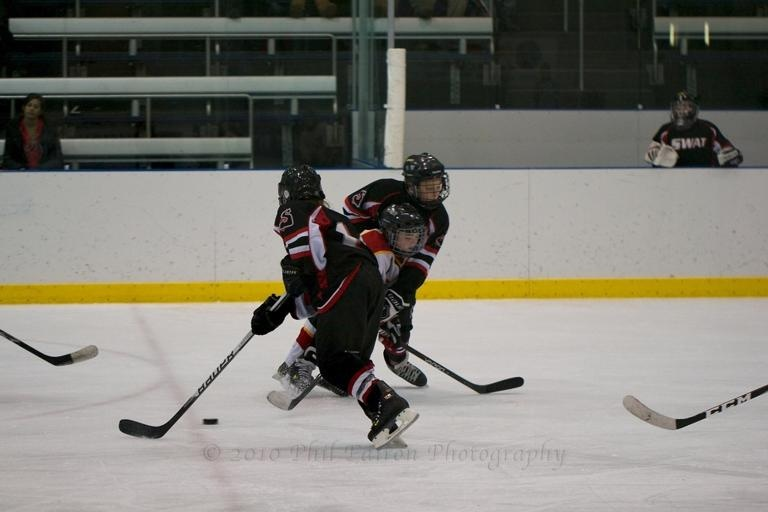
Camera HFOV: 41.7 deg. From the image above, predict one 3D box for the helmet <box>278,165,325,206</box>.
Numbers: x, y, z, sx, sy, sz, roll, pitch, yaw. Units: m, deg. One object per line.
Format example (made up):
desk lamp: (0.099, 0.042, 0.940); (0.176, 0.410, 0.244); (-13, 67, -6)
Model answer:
helmet: (-0.535, -0.461, 6.495); (0.237, 0.228, 0.283); (-4, 28, -12)

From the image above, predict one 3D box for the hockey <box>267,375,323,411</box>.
hockey: (-0.568, 0.892, 6.672); (0.181, 0.142, 0.400); (21, 32, 36)

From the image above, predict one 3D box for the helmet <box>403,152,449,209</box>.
helmet: (0.297, -0.569, 6.887); (0.280, 0.349, 0.372); (-22, 36, -28)

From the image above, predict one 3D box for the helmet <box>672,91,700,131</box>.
helmet: (2.948, -1.416, 9.931); (0.261, 0.286, 0.329); (-2, -3, 14)

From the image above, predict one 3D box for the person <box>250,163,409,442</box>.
person: (-0.274, 0.292, 6.299); (1.180, 1.673, 0.441); (6, 9, 37)

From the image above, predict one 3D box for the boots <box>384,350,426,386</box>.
boots: (0.140, 0.779, 7.024); (0.279, 0.089, 0.118); (40, -9, -1)

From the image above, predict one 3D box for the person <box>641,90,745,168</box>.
person: (3.088, -1.124, 9.985); (1.153, 1.008, 0.730); (-2, 4, 22)
